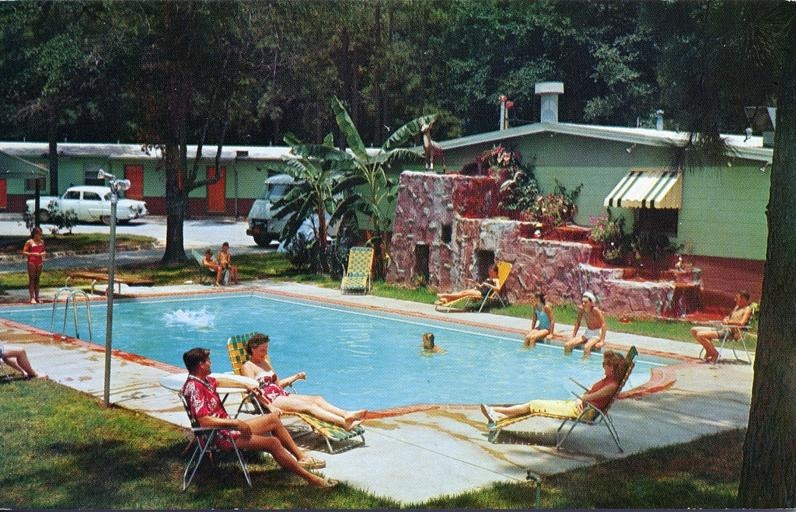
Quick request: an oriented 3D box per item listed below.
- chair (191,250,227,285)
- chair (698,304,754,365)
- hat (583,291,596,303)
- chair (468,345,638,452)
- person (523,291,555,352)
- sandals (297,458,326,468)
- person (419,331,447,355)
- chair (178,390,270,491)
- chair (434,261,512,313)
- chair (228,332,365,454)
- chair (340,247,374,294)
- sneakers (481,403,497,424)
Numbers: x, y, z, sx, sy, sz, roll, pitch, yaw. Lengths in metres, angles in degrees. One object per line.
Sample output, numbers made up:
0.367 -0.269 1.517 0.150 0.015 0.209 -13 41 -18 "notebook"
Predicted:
-6.485 0.305 34.760 1.122 1.284 0.663 11 -22 -35 "chair"
8.570 1.840 26.149 1.376 1.677 1.219 2 15 34 "chair"
5.119 1.073 27.265 0.187 0.251 0.249 24 23 17 "hat"
3.448 2.950 21.449 3.069 2.419 1.519 2 -4 14 "chair"
3.867 1.618 27.769 0.775 1.405 0.904 2 11 11 "person"
-1.680 4.034 19.982 0.417 0.197 0.226 0 7 -1 "sandals"
0.962 2.264 27.663 0.642 0.480 0.721 0 11 -3 "person"
-3.395 3.766 19.915 1.541 2.382 1.553 -1 0 -10 "chair"
2.423 0.978 31.188 2.025 1.548 1.355 -3 1 -27 "chair"
-2.126 2.723 21.153 2.933 2.263 1.423 1 -1 33 "chair"
-1.355 0.408 33.938 0.876 1.765 1.208 1 -7 13 "chair"
1.868 3.191 21.257 0.186 0.234 0.562 -35 26 -3 "sneakers"
